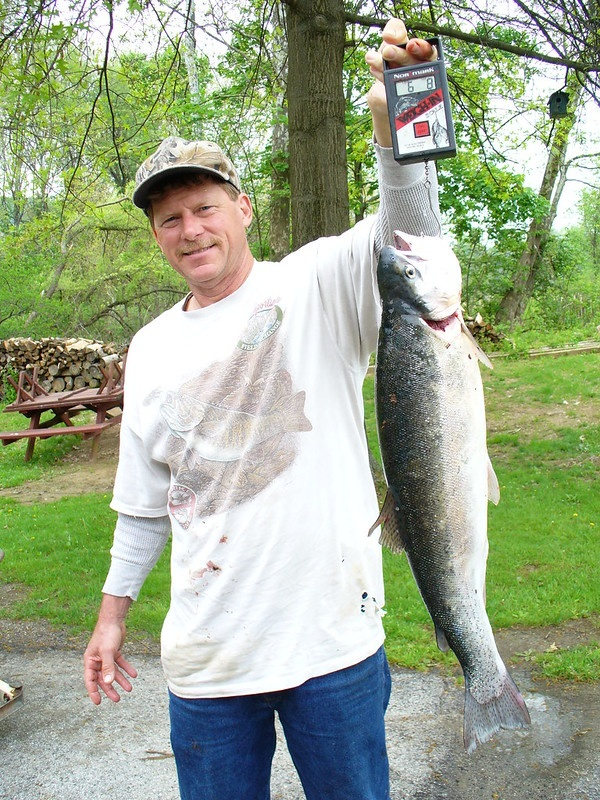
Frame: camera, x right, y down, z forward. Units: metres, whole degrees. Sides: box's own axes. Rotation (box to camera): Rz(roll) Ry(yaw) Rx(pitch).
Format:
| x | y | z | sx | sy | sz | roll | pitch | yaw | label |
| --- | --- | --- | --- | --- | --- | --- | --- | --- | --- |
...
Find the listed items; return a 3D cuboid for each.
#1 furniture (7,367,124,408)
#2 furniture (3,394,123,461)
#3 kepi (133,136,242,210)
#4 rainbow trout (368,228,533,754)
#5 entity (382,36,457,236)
| x | y | z | sx | sy | sz | roll | pitch | yaw | label |
| --- | --- | --- | --- | --- | --- | --- | --- | --- | --- |
| -4.052 | -0.229 | 13.917 | 1.347 | 0.381 | 0.859 | -5 | 6 | 14 | furniture |
| -3.591 | 0.263 | 12.605 | 1.876 | 0.782 | 1.770 | -4 | 4 | 11 | furniture |
| -0.398 | -0.771 | 2.619 | 0.301 | 0.163 | 0.379 | -13 | -2 | 7 | kepi |
| 0.371 | 0.261 | 2.140 | 0.339 | 1.410 | 0.242 | -7 | 13 | 4 | rainbow trout |
| 0.307 | -0.761 | 2.075 | 0.162 | 0.263 | 0.094 | -6 | 12 | 7 | entity |
